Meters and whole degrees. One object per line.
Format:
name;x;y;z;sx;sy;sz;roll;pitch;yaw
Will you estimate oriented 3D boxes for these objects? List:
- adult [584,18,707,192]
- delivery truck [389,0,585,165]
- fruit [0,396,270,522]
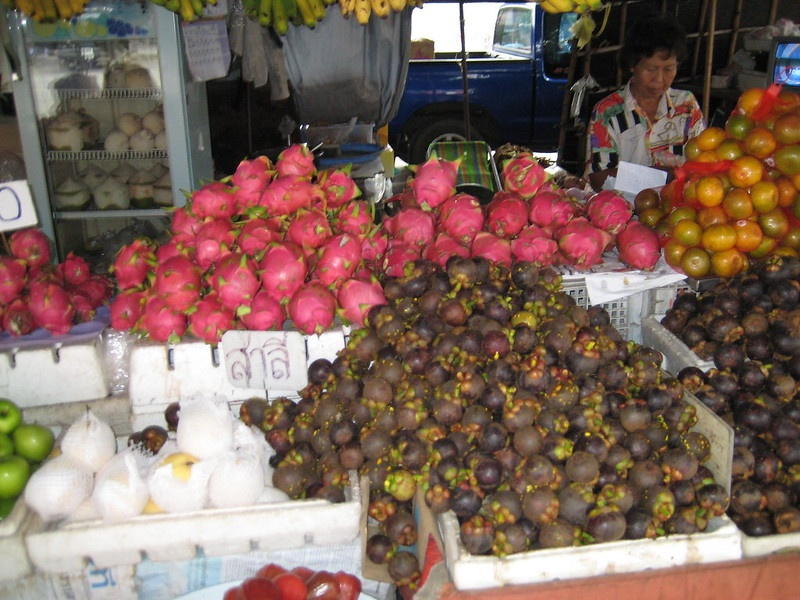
adult;1.682;-1.242;4.418;0.768;1.177;0.659;-5;31;6
delivery truck;1.137;-2.848;8.410;2.710;1.389;1.532;-7;27;-5
fruit;-0.914;0.599;2.389;0.664;0.243;0.497;-3;24;-8
